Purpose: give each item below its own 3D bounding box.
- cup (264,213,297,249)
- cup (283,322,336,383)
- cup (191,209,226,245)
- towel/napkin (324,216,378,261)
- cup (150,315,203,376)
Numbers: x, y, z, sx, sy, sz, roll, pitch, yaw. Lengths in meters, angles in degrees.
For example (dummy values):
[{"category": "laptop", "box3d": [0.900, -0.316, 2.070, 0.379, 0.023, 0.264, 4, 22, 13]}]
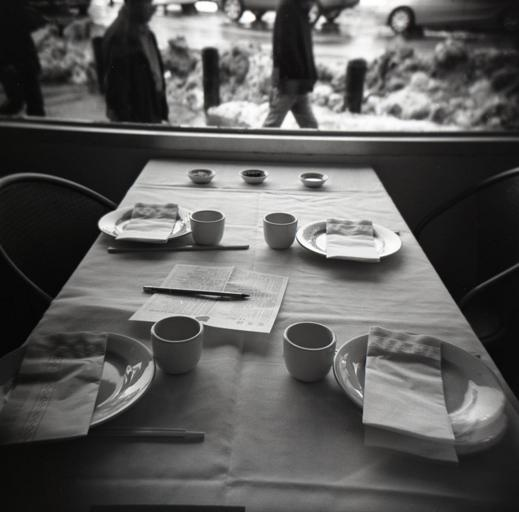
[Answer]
[{"category": "cup", "box3d": [0.034, -0.047, 0.961, 0.076, 0.065, 0.073, -6, -6, -1]}, {"category": "cup", "box3d": [0.064, 0.112, 0.585, 0.063, 0.057, 0.069, 1, 30, -1]}, {"category": "cup", "box3d": [-0.111, -0.057, 0.974, 0.082, 0.071, 0.082, 2, -4, 0]}, {"category": "towel/napkin", "box3d": [0.196, -0.035, 0.938, 0.073, 0.013, 0.152, 6, 29, 5]}, {"category": "cup", "box3d": [-0.109, 0.119, 0.580, 0.064, 0.057, 0.069, 3, 20, -1]}]
